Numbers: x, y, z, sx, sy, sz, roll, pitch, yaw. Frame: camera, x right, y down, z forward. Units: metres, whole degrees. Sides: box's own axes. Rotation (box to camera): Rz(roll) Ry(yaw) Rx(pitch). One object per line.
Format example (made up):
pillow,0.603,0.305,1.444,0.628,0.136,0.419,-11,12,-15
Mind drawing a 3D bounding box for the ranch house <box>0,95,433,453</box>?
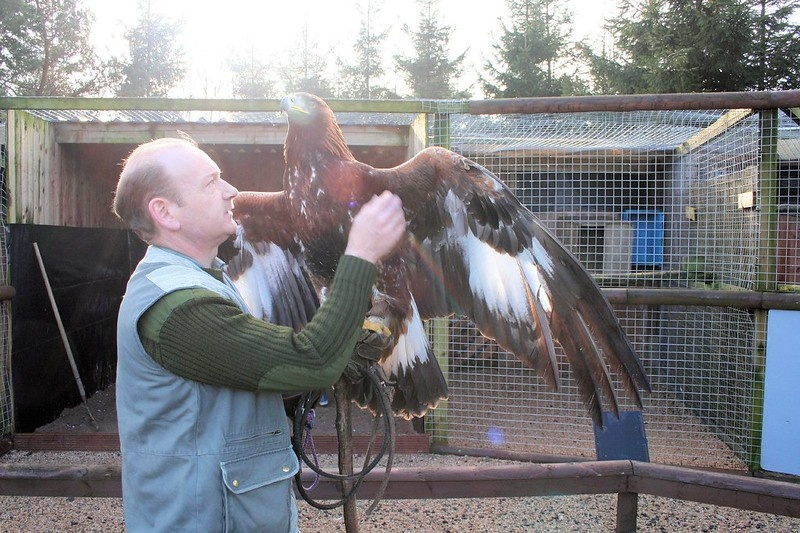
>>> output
ranch house,-2.912,-0.043,12.041,3.922,3.582,4.235,-1,1,3
